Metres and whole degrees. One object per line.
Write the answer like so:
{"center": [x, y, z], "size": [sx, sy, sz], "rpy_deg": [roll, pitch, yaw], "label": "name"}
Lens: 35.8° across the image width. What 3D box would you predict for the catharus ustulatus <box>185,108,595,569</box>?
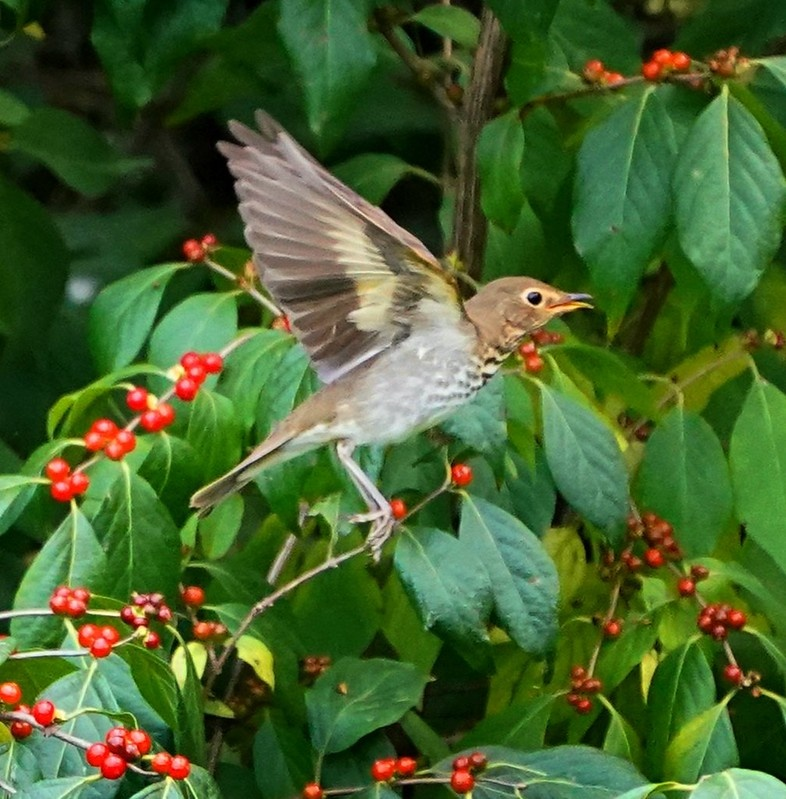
{"center": [0.003, -0.069, 2.047], "size": [0.665, 0.641, 0.749], "rpy_deg": [3, -2, -8], "label": "catharus ustulatus"}
